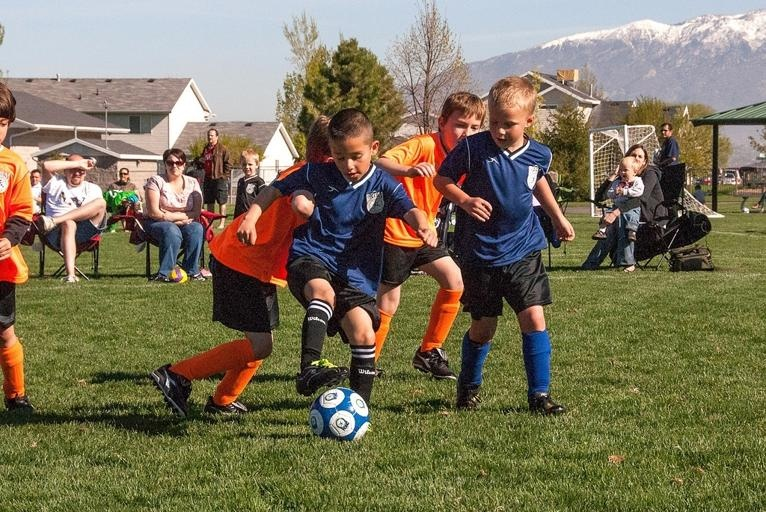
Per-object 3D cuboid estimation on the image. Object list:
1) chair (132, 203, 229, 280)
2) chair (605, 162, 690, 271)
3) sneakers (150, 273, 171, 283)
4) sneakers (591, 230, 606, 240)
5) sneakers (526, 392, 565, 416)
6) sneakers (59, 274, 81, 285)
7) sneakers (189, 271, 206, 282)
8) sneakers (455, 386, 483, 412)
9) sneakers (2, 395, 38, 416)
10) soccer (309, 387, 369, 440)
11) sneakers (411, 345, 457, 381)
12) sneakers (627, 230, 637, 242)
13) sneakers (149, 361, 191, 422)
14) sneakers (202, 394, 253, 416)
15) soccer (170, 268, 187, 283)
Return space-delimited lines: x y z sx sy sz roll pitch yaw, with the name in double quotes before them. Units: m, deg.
"chair" -2.891 -0.156 13.519 1.139 0.937 0.965 -6 -6 -14
"chair" 4.046 -0.480 14.274 0.812 1.128 0.754 -4 -13 20
"sneakers" -2.941 0.289 13.163 0.296 0.135 0.110 -5 -3 38
"sneakers" 3.092 -0.305 14.251 0.114 0.108 0.254 -5 -9 33
"sneakers" 1.243 1.152 7.705 0.125 0.132 0.289 0 -2 -43
"sneakers" -4.035 0.312 12.866 0.104 0.109 0.237 -8 10 2
"sneakers" -2.459 0.283 13.328 0.251 0.118 0.096 0 4 19
"sneakers" 0.676 1.125 7.906 0.097 0.292 0.120 3 -6 -38
"sneakers" -2.854 1.194 7.829 0.234 0.139 0.111 0 1 8
"soccer" -0.323 1.155 7.273 0.436 0.353 0.212 -2 12 -5
"sneakers" 0.470 0.935 8.749 0.488 0.245 0.177 17 9 31
"sneakers" 3.518 -0.284 14.164 0.116 0.134 0.124 6 -16 -6
"sneakers" -1.591 1.065 7.554 0.279 0.456 0.234 -8 14 -26
"sneakers" -1.242 1.183 7.829 0.342 0.159 0.138 1 0 -7
"soccer" -2.685 0.258 13.134 0.174 0.186 0.183 -17 14 3
